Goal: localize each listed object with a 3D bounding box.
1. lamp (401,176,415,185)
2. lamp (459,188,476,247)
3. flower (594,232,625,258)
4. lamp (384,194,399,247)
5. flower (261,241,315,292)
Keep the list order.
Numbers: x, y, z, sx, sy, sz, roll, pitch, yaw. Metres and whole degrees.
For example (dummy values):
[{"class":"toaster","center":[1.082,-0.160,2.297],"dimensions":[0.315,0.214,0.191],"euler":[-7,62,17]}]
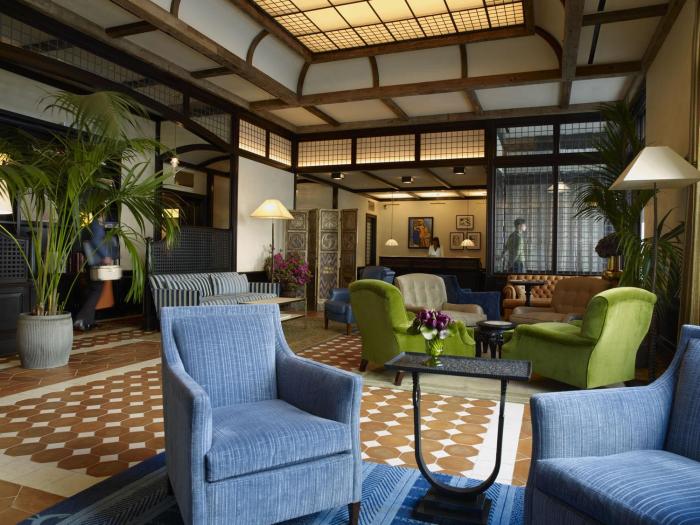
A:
[{"class":"lamp","center":[1.381,-1.997,11.684],"dimensions":[0.226,0.143,0.227],"euler":[0,-3,3]},{"class":"lamp","center":[3.577,-1.138,14.704],"dimensions":[0.415,1.539,1.082],"euler":[2,5,13]},{"class":"flower","center":[3.477,-0.201,6.521],"dimensions":[0.479,0.334,0.642],"euler":[-2,-1,27]},{"class":"lamp","center":[1.325,-1.202,15.379],"dimensions":[0.471,1.458,1.359],"euler":[1,5,4]},{"class":"flower","center":[-1.272,0.233,9.381],"dimensions":[0.760,1.076,1.077],"euler":[-13,-12,31]}]
